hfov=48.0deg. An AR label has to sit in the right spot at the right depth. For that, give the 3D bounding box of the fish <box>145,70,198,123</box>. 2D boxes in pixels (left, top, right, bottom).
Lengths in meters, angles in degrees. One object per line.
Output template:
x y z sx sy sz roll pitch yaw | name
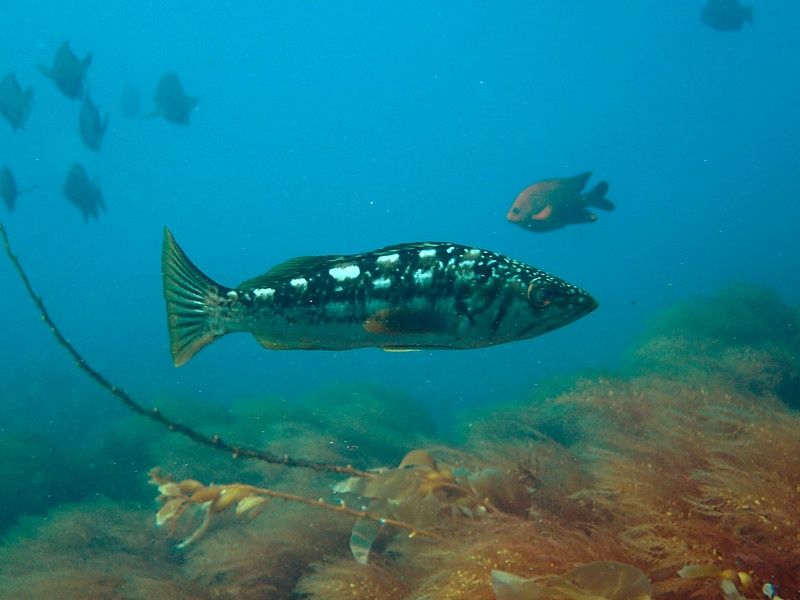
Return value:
-3.918 -3.496 15.440 0.670 0.905 0.503 -2 16 1 | fish
